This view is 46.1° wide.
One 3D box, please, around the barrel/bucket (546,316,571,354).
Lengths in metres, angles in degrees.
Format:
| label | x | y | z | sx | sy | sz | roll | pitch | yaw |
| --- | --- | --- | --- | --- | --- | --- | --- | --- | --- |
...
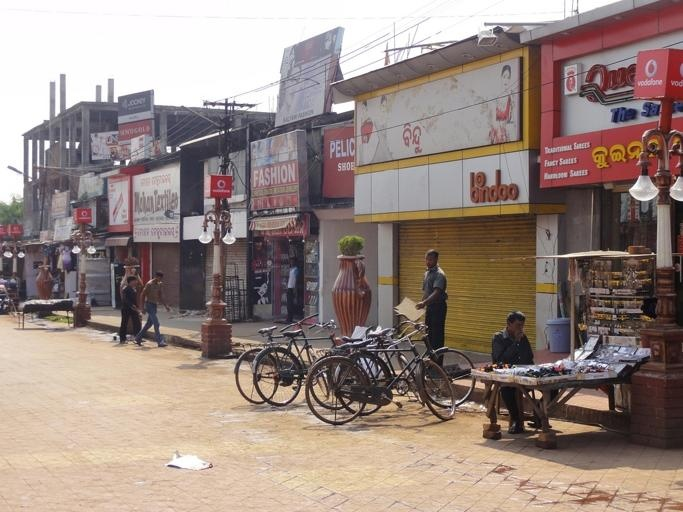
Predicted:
| label | x | y | z | sx | sy | sz | roll | pitch | yaw |
| --- | --- | --- | --- | --- | --- | --- | --- | --- | --- |
| barrel/bucket | 4.241 | 1.566 | 15.731 | 0.581 | 0.631 | 0.587 | -1 | -5 | 0 |

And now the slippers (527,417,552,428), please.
| label | x | y | z | sx | sy | sz | roll | pitch | yaw |
| --- | --- | --- | --- | --- | --- | --- | --- | --- | --- |
| slippers | 2.755 | 2.333 | 11.331 | 0.253 | 0.127 | 0.382 | 0 | -1 | -22 |

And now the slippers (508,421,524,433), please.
| label | x | y | z | sx | sy | sz | roll | pitch | yaw |
| --- | --- | --- | --- | --- | --- | --- | --- | --- | --- |
| slippers | 2.464 | 2.410 | 11.234 | 0.097 | 0.120 | 0.281 | 1 | 4 | 30 |

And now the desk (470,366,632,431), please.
| label | x | y | z | sx | sy | sz | roll | pitch | yaw |
| --- | --- | --- | --- | --- | --- | --- | --- | --- | --- |
| desk | 2.932 | 2.000 | 11.002 | 1.950 | 0.945 | 1.350 | 3 | -6 | -29 |

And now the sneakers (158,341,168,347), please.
| label | x | y | z | sx | sy | sz | roll | pitch | yaw |
| --- | --- | --- | --- | --- | --- | --- | --- | --- | --- |
| sneakers | -4.659 | 2.308 | 20.933 | 0.223 | 0.154 | 0.088 | -4 | 6 | -15 |
